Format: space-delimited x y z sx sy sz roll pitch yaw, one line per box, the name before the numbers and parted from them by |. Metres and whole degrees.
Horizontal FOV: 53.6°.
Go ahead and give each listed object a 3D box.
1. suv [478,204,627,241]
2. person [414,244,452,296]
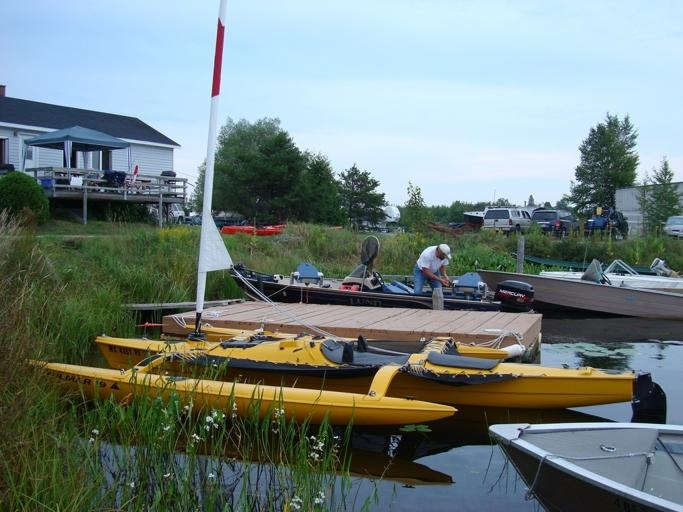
suv | 8.952 -1.462 28.124 5.776 1.460 3.704 9 9 14
person | 1.711 0.254 12.391 0.661 1.004 1.105 6 9 7
